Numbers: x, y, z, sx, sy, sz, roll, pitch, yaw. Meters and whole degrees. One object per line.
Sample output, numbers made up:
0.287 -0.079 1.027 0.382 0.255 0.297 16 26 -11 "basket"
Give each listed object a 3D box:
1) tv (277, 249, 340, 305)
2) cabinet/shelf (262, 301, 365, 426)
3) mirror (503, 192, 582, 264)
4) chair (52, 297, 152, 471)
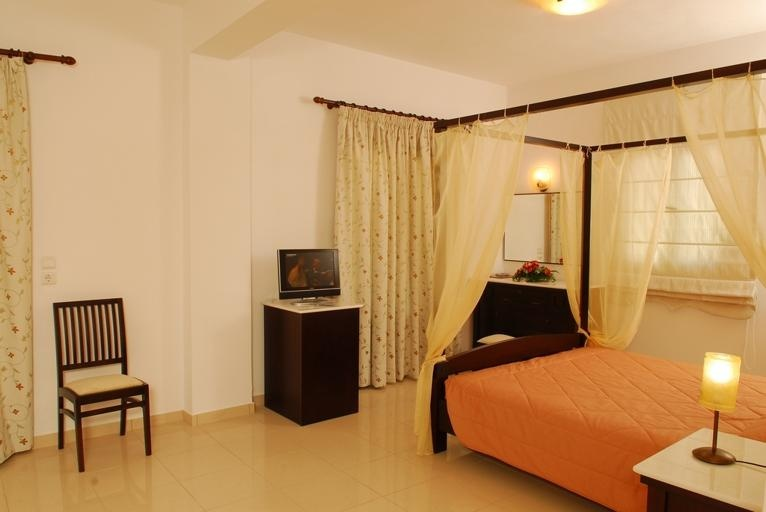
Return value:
-0.781 0.209 5.463 0.539 0.449 0.072 0 -5 -25 "tv"
-0.638 1.058 5.783 1.045 1.600 1.070 6 7 40 "cabinet/shelf"
2.016 -0.364 6.636 0.912 1.118 0.052 1 3 45 "mirror"
-2.504 1.074 4.734 0.787 1.292 0.756 -8 15 -34 "chair"
